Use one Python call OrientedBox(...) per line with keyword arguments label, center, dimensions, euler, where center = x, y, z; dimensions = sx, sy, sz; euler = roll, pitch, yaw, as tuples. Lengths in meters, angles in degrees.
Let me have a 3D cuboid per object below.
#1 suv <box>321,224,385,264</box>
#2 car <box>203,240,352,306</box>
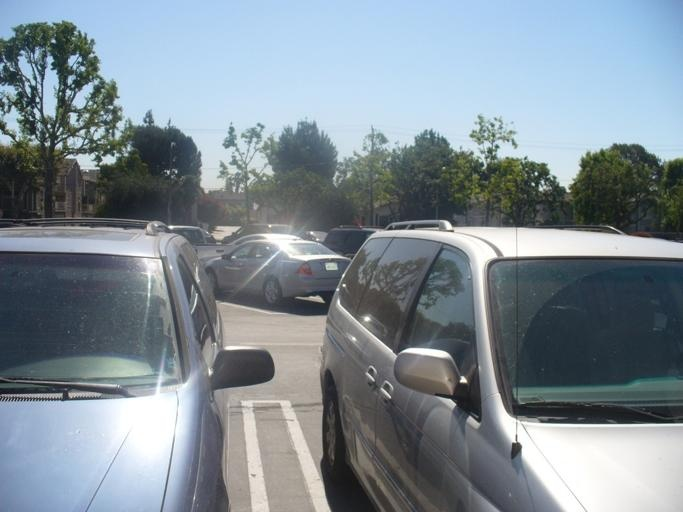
OrientedBox(label="suv", center=(0.341, -0.456, 22.568), dimensions=(1.830, 1.310, 1.269), euler=(-2, 8, -6))
OrientedBox(label="car", center=(-1.801, 0.267, 14.240), dimensions=(1.564, 1.448, 3.748), euler=(3, 2, -36))
